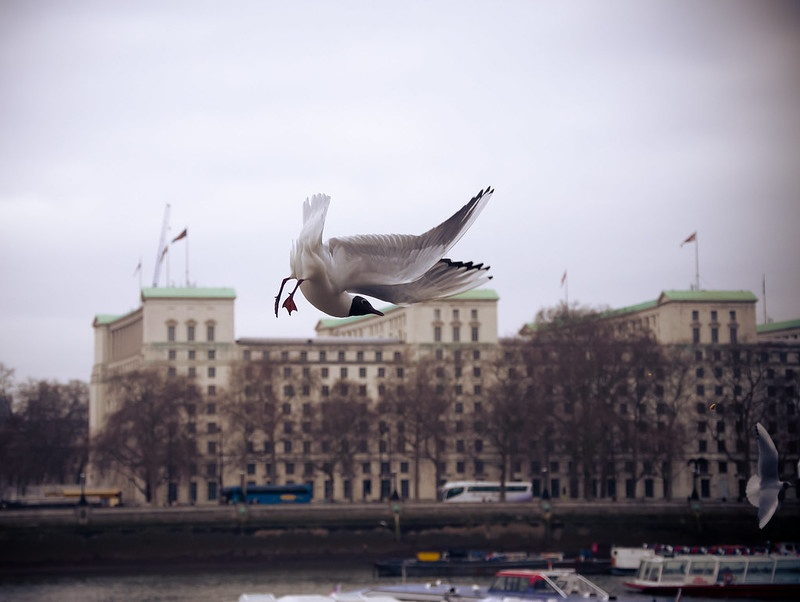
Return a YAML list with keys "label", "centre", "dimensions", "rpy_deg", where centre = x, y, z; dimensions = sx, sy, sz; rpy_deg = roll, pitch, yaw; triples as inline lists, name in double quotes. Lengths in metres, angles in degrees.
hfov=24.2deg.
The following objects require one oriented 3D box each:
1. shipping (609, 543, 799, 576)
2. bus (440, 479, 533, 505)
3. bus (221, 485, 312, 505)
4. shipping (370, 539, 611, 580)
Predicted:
- label: "shipping"
  centre: [17.007, 14.475, 103.903]
  dimensions: [7.044, 1.225, 1.728]
  rpy_deg: [-1, -8, 2]
- label: "bus"
  centre: [5.994, 12.097, 122.595]
  dimensions: [6.195, 1.684, 2.104]
  rpy_deg: [1, -7, 0]
- label: "bus"
  centre: [-8.419, 12.833, 123.903]
  dimensions: [5.795, 1.089, 1.841]
  rpy_deg: [-1, -5, 0]
- label: "shipping"
  centre: [5.614, 15.142, 108.663]
  dimensions: [10.090, 1.804, 2.057]
  rpy_deg: [0, -13, -3]
